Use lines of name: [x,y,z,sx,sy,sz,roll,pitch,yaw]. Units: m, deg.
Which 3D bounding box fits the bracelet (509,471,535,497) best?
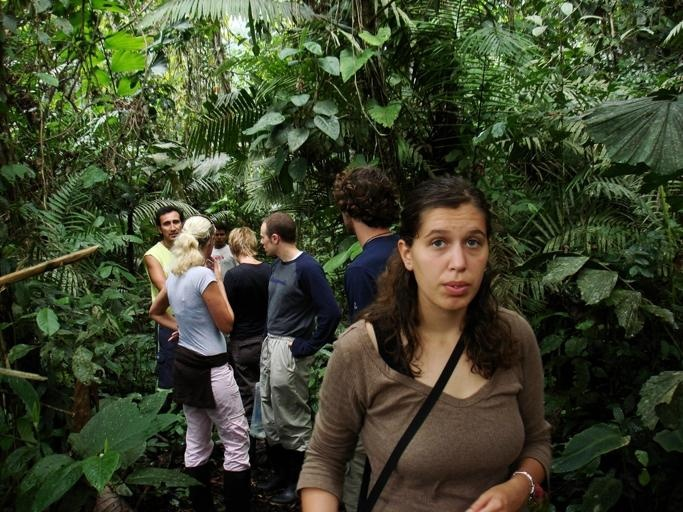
bracelet: [0.845,1.023,2.708,0.101,0.100,0.042,32,45,17]
